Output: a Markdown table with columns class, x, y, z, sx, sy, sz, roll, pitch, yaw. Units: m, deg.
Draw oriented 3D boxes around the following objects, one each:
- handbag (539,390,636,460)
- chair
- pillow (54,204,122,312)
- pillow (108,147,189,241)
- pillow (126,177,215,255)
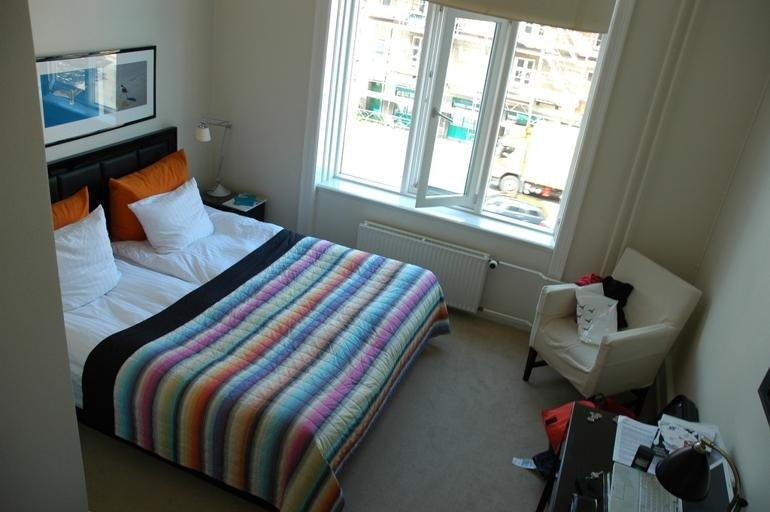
| class | x | y | z | sx | sy | sz | roll | pitch | yaw |
| --- | --- | --- | --- | --- | --- | --- | --- | --- | --- |
| handbag | 1.488 | 1.134 | 4.089 | 0.589 | 0.204 | 0.615 | -17 | 30 | -7 |
| chair | 1.838 | 0.632 | 4.612 | 0.982 | 1.102 | 0.886 | -9 | 29 | -29 |
| pillow | -2.128 | 0.029 | 3.886 | 0.288 | 0.546 | 0.588 | 14 | 27 | 9 |
| pillow | -2.082 | -0.516 | 4.741 | 0.227 | 0.490 | 0.705 | 8 | 35 | 25 |
| pillow | -1.837 | -0.322 | 4.713 | 0.182 | 0.562 | 0.636 | -22 | 6 | 36 |
